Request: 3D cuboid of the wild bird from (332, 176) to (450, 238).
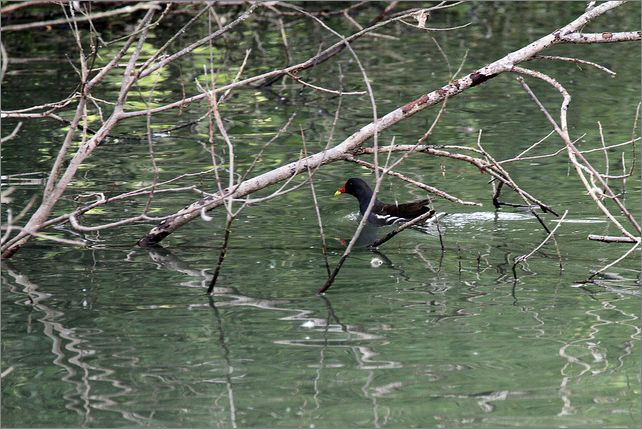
[{"bbox_3d":[1.146,-0.130,12.798,2.392,0.666,0.555,8,3,-24],"label":"wild bird"}]
